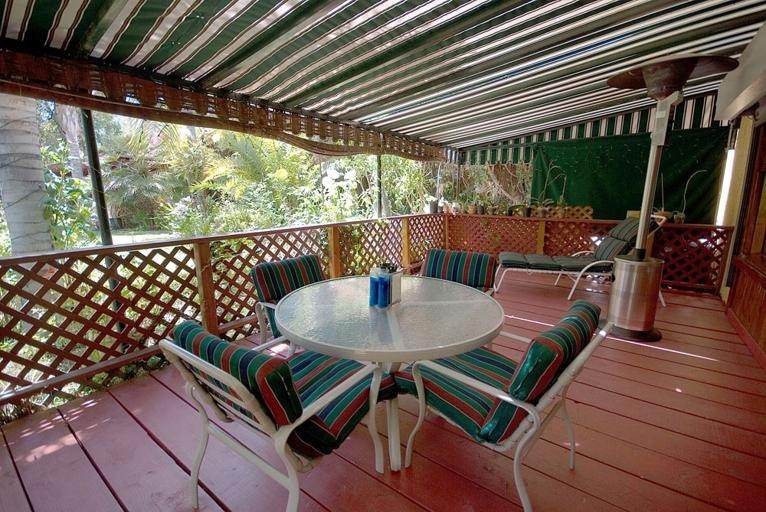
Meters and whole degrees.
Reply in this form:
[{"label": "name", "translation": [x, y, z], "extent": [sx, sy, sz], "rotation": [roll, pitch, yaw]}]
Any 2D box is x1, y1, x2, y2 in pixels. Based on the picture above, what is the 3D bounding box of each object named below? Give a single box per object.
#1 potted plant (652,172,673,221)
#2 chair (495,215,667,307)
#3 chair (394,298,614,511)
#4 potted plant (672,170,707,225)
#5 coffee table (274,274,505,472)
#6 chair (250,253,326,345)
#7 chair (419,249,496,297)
[{"label": "potted plant", "translation": [3.920, -0.856, 6.434], "extent": [0.236, 0.683, 1.223], "rotation": [6, 10, 31]}, {"label": "chair", "translation": [2.631, 0.017, 6.360], "extent": [2.179, 1.254, 1.240], "rotation": [2, 14, 14]}, {"label": "chair", "translation": [0.836, 1.004, 3.901], "extent": [1.650, 1.543, 1.315], "rotation": [10, 17, 40]}, {"label": "potted plant", "translation": [4.270, -0.860, 6.480], "extent": [0.278, 0.752, 0.774], "rotation": [9, 13, 43]}, {"label": "coffee table", "translation": [0.085, 0.976, 3.969], "extent": [1.842, 1.183, 1.830], "rotation": [-1, 13, -1]}, {"label": "chair", "translation": [-0.916, 0.380, 4.443], "extent": [0.687, 0.877, 0.838], "rotation": [-12, 19, -38]}, {"label": "chair", "translation": [0.808, -0.026, 4.847], "extent": [0.744, 0.508, 0.526], "rotation": [9, 51, 9]}]
